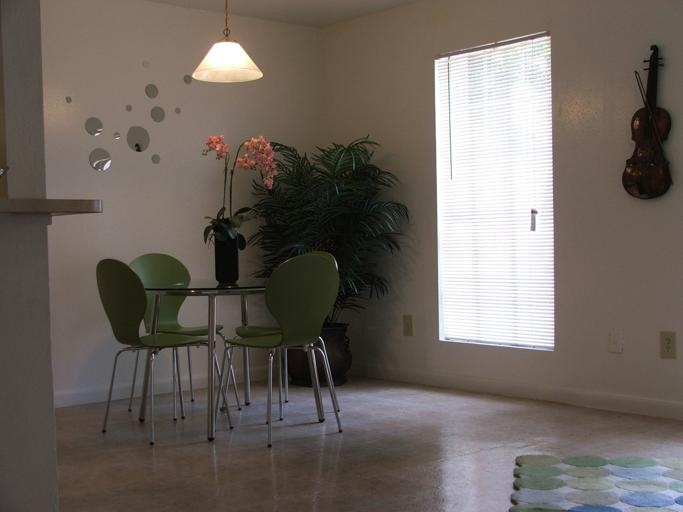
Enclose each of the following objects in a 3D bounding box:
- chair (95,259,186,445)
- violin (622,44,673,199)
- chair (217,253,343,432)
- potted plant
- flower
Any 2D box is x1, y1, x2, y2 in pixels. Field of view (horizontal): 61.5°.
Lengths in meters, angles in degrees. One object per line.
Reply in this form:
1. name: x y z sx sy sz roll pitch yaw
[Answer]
1. chair: -1.358 0.569 3.876 0.491 1.127 1.055 -2 2 -23
2. violin: 2.008 -0.885 3.794 0.281 0.990 0.061 0 2 32
3. chair: -0.391 0.548 3.805 0.850 1.133 1.048 -2 2 -12
4. potted plant: -0.189 0.065 5.041 1.232 2.113 1.261 -3 2 -23
5. flower: -0.764 -0.515 4.047 0.412 0.743 0.516 27 25 34
